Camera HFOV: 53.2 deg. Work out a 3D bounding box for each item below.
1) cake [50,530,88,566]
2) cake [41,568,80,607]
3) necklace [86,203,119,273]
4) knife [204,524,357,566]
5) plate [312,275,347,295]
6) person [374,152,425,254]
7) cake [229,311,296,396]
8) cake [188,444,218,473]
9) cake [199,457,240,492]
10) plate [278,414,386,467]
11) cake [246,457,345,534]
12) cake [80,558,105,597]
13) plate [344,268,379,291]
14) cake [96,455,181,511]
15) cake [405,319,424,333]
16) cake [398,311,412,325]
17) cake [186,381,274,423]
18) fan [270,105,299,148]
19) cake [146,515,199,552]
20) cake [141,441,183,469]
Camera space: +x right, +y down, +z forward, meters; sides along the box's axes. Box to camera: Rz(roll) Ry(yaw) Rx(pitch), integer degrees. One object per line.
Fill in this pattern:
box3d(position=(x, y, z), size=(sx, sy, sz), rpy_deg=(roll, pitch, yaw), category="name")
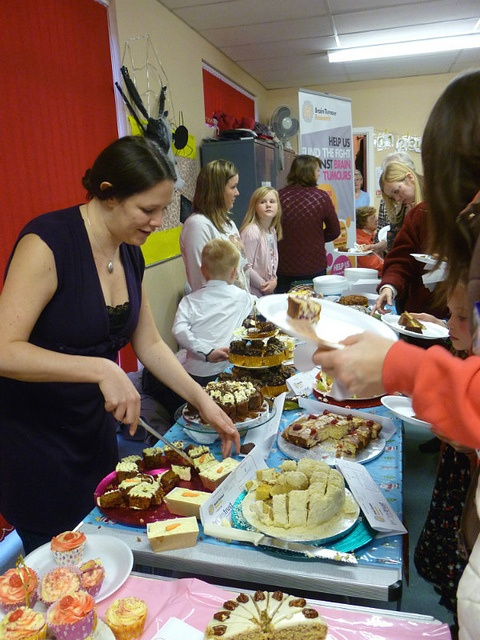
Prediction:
box3d(position=(-0.338, 0.452, 0.951), size=(0.061, 0.046, 0.064), rpy_deg=(-2, -5, 3), category="cake")
box3d(position=(-0.325, 0.476, 0.862), size=(0.057, 0.020, 0.055), rpy_deg=(-1, 17, -4), category="cake")
box3d(position=(-0.385, -0.250, 1.470), size=(0.051, 0.184, 0.132), rpy_deg=(-11, 2, 14), category="necklace")
box3d(position=(0.086, 0.477, 1.011), size=(0.251, 0.019, 0.037), rpy_deg=(4, 15, 22), category="knife")
box3d(position=(0.678, -0.265, 3.674), size=(0.183, 0.111, 0.184), rpy_deg=(-3, 11, -9), category="plate")
box3d(position=(1.159, -0.725, 3.472), size=(0.465, 0.306, 0.763), rpy_deg=(0, 53, 18), category="person")
box3d(position=(0.075, 0.139, 2.054), size=(0.269, 0.276, 0.270), rpy_deg=(7, 16, 29), category="cake")
box3d(position=(-0.114, 0.394, 1.370), size=(0.050, 0.022, 0.069), rpy_deg=(12, 21, 2), category="cake")
box3d(position=(-0.057, 0.409, 1.267), size=(0.079, 0.027, 0.081), rpy_deg=(-13, 12, 42), category="cake")
box3d(position=(0.297, 0.360, 1.492), size=(0.301, 0.059, 0.296), rpy_deg=(-4, 18, 5), category="plate")
box3d(position=(0.140, 0.411, 1.148), size=(0.126, 0.045, 0.149), rpy_deg=(5, 15, 35), category="cake")
box3d(position=(-0.278, 0.475, 0.896), size=(0.046, 0.048, 0.047), rpy_deg=(-6, 14, -27), category="cake")
box3d(position=(1.007, -0.338, 3.935), size=(0.233, 0.166, 0.232), rpy_deg=(1, 12, 8), category="plate")
box3d(position=(-0.268, 0.425, 1.232), size=(0.113, 0.031, 0.111), rpy_deg=(0, 17, 16), category="cake")
box3d(position=(0.870, 0.029, 2.380), size=(0.081, 0.036, 0.081), rpy_deg=(22, 17, 14), category="cake")
box3d(position=(0.846, -0.014, 2.452), size=(0.042, 0.041, 0.063), rpy_deg=(5, 14, 5), category="cake")
box3d(position=(-0.004, 0.286, 1.661), size=(0.189, 0.063, 0.206), rpy_deg=(-11, -6, -2), category="cake")
box3d(position=(0.590, -2.717, 6.758), size=(0.520, 0.502, 0.132), rpy_deg=(-22, 26, -31), category="fan")
box3d(position=(-0.147, 0.441, 1.042), size=(0.103, 0.049, 0.054), rpy_deg=(-2, -2, -10), category="cake")
box3d(position=(-0.234, 0.403, 1.439), size=(0.082, 0.027, 0.080), rpy_deg=(0, 9, -14), category="cake")
